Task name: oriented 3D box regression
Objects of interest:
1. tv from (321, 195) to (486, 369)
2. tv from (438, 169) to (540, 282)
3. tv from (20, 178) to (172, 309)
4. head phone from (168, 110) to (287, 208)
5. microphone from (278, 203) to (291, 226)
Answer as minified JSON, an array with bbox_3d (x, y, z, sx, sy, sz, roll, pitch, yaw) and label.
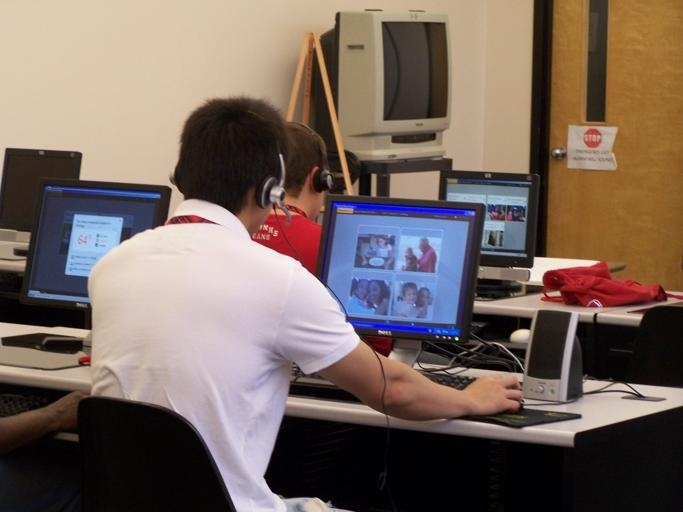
[{"bbox_3d":[0.161,0.063,1.690,0.494,0.412,0.116,6,-1,15],"label":"tv"},{"bbox_3d":[0.592,-0.125,2.410,0.456,0.533,0.189,4,3,19],"label":"tv"},{"bbox_3d":[-0.791,-0.029,1.942,0.483,0.431,0.047,4,-9,14],"label":"tv"},{"bbox_3d":[-0.220,-0.198,1.276,0.162,0.223,0.215,9,-8,-40],"label":"head phone"},{"bbox_3d":[-0.157,-0.121,1.635,0.019,0.072,0.074,-4,-6,-25],"label":"microphone"}]
